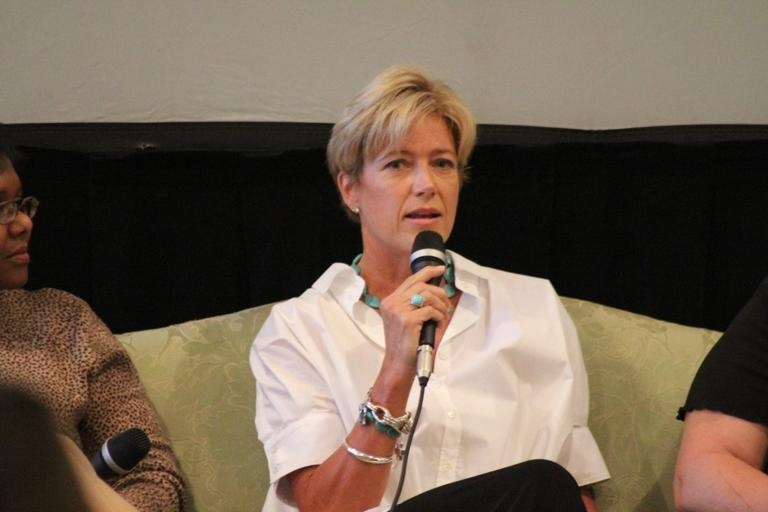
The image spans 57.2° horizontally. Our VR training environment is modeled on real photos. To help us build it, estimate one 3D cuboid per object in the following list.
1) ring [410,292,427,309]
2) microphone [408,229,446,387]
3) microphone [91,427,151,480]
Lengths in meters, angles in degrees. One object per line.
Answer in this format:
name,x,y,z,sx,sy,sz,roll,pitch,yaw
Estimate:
ring,0.084,0.110,1.762,0.038,0.034,0.015,-2,20,29
microphone,0.111,0.116,1.797,0.088,0.095,0.420,7,60,-3
microphone,-0.592,0.447,1.548,0.161,0.069,0.064,-34,36,25
